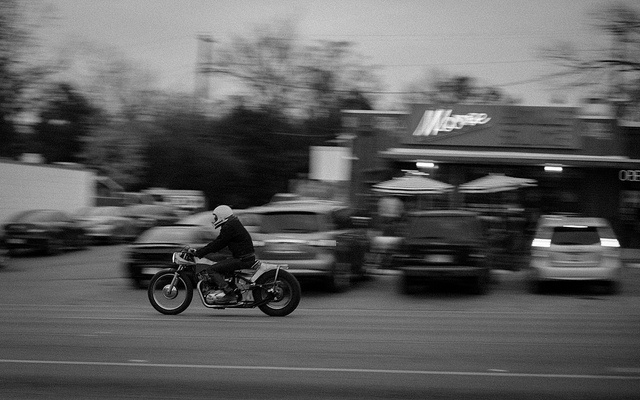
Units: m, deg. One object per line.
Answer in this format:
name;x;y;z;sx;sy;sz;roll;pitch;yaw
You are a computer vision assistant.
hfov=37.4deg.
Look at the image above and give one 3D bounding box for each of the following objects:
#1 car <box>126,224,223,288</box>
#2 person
car;-5.017;1.616;29.717;1.795;0.827;3.065;-2;6;14
person;-2.511;1.480;25.599;1.545;2.619;0.407;2;4;-3
